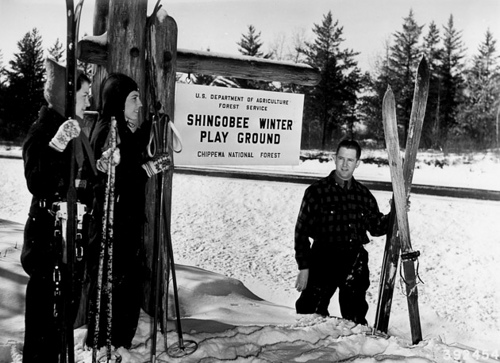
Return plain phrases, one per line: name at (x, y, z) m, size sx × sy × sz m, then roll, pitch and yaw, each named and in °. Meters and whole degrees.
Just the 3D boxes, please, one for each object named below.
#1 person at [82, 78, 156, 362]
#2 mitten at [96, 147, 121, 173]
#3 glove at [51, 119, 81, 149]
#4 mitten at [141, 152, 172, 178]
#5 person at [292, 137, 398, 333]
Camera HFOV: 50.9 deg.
person at (-1.384, 0.396, 5.575) m, size 0.751 × 2.992 × 0.646 m, roll 0°, pitch 5°, yaw -21°
mitten at (-1.434, -0.215, 5.373) m, size 0.270 × 0.177 × 0.117 m, roll -44°, pitch -10°, yaw 15°
glove at (-1.781, -0.464, 5.123) m, size 0.197 × 0.321 × 0.080 m, roll 39°, pitch 1°, yaw 4°
mitten at (-0.988, -0.175, 5.542) m, size 0.303 × 0.207 × 0.077 m, roll -28°, pitch 16°, yaw -19°
person at (1.091, 0.633, 6.280) m, size 1.092 × 2.252 × 0.406 m, roll 3°, pitch 5°, yaw 5°
